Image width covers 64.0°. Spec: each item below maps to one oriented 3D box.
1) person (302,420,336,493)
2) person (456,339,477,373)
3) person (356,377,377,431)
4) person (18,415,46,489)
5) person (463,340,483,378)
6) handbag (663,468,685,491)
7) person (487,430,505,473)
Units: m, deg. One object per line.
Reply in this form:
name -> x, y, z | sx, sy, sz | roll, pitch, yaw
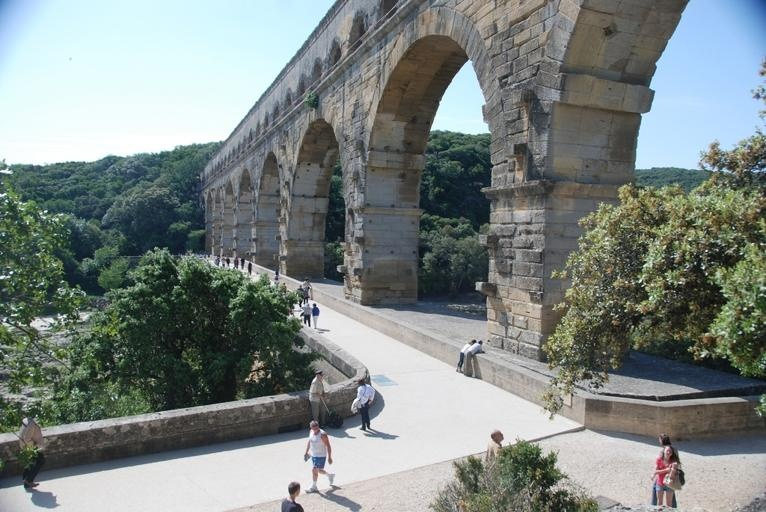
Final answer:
person -> -1.068, 3.261, 10.236 | 0.516, 0.993, 0.795 | 2, 0, -7
person -> 1.949, 2.342, 14.460 | 0.248, 0.819, 0.373 | 13, 9, -37
person -> -0.376, 2.873, 12.096 | 0.325, 0.904, 0.889 | 2, 0, -1
person -> -5.749, 3.212, 10.026 | 0.382, 0.828, 0.626 | 2, 0, -30
person -> 2.134, 2.352, 14.347 | 0.513, 0.834, 0.367 | 8, -17, -9
handbag -> 4.300, 3.270, 8.988 | 0.351, 0.332, 0.142 | 2, 0, -28
person -> 1.619, 2.796, 8.927 | 0.214, 0.463, 0.992 | 2, 0, 12
